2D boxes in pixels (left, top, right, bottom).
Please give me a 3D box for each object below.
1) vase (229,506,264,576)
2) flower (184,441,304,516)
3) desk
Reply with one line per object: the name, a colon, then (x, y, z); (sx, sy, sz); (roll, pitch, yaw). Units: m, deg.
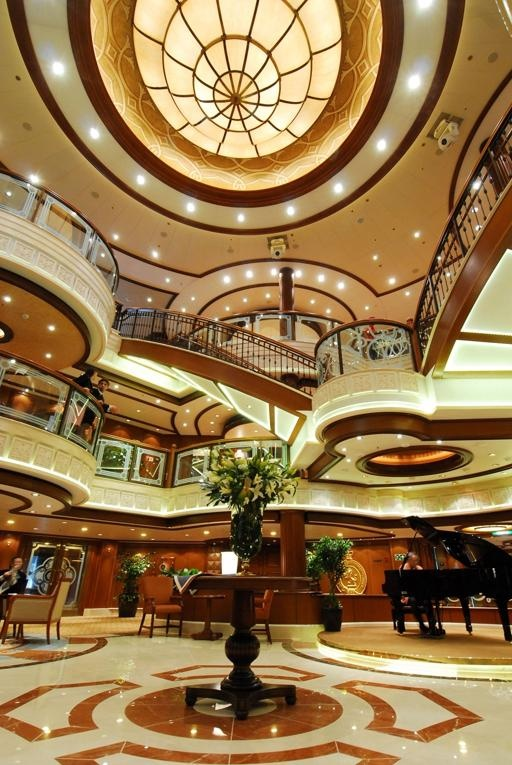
vase: (-0.088, 1.307, 3.509); (0.264, 0.522, 0.267); (-2, -21, 11)
flower: (-0.152, 0.856, 3.617); (0.578, 0.480, 0.551); (-5, -6, -13)
desk: (-0.099, 1.932, 3.230); (0.984, 1.006, 0.966); (2, -39, -2)
